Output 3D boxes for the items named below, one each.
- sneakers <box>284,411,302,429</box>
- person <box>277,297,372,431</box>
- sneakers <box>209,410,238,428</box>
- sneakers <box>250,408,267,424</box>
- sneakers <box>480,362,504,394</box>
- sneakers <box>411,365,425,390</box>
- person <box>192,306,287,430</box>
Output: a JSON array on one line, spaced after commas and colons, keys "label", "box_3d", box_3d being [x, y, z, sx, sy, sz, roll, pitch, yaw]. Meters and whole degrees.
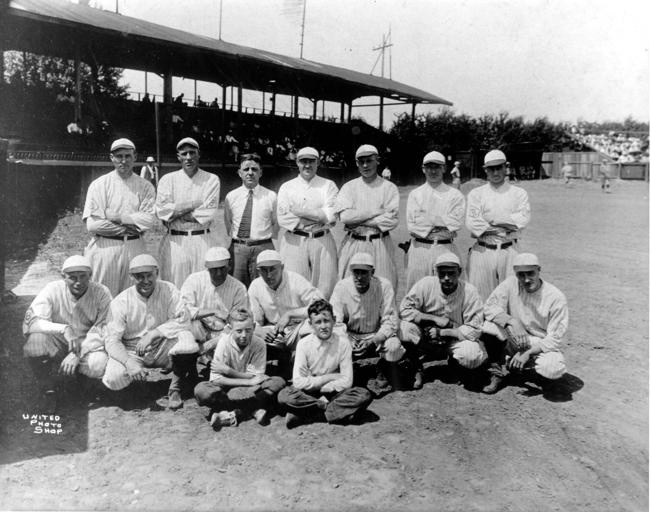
[{"label": "sneakers", "box_3d": [-0.341, 1.759, 7.107, 0.152, 0.165, 0.062, -3, 9, -23]}, {"label": "person", "box_3d": [0.001, 1.136, 7.206, 0.910, 1.166, 0.936, 1, 12, 24]}, {"label": "sneakers", "box_3d": [-1.065, 1.749, 7.092, 0.223, 0.164, 0.093, -1, 2, -31]}, {"label": "sneakers", "box_3d": [-0.692, 1.719, 7.207, 0.115, 0.159, 0.060, -29, -3, 16]}, {"label": "sneakers", "box_3d": [1.976, 1.442, 7.896, 0.237, 0.266, 0.430, 8, 15, 27]}, {"label": "sneakers", "box_3d": [1.107, 1.467, 7.959, 0.134, 0.248, 0.083, 2, -10, 0]}, {"label": "person", "box_3d": [-0.900, 1.189, 7.250, 0.817, 1.071, 0.856, 3, 10, 6]}]
